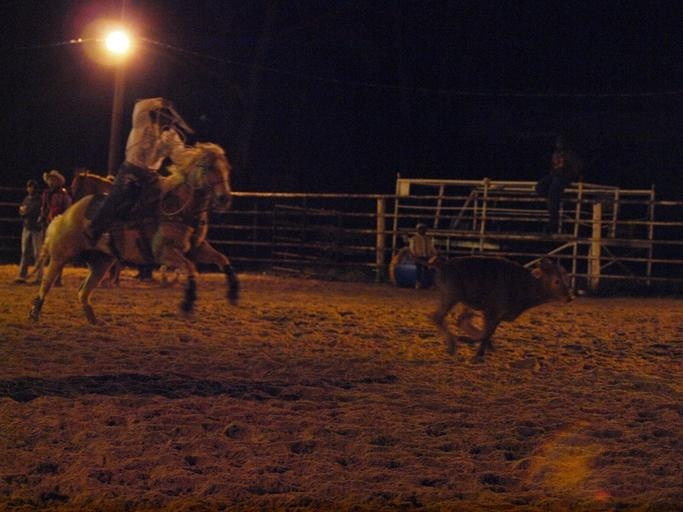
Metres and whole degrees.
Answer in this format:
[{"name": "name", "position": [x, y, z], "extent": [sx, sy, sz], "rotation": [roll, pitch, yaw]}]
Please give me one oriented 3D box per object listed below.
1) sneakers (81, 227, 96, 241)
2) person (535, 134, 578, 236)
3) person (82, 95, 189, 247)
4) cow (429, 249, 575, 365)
[{"name": "sneakers", "position": [-3.141, -0.271, 9.408], "extent": [0.172, 0.164, 0.066], "rotation": [13, 9, 31]}, {"name": "person", "position": [3.984, -1.298, 14.013], "extent": [0.767, 1.880, 1.157], "rotation": [5, 12, 14]}, {"name": "person", "position": [-2.588, -1.087, 9.604], "extent": [1.210, 1.796, 0.374], "rotation": [-4, 13, -28]}, {"name": "cow", "position": [1.826, 0.613, 9.127], "extent": [1.581, 1.236, 0.453], "rotation": [4, 12, 5]}]
